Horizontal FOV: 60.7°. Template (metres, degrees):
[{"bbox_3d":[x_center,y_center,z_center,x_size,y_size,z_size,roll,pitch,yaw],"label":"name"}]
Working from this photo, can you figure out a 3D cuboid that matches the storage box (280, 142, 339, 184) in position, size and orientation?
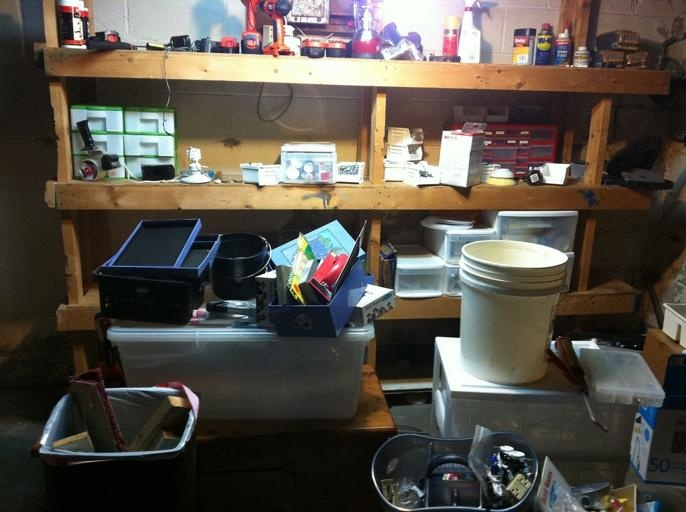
[{"bbox_3d":[-0.183,-0.490,3.205,0.311,0.197,0.212,0,17,0],"label":"storage box"}]

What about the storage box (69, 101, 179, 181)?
[{"bbox_3d":[-1.181,-0.607,3.261,0.700,0.468,0.364,-2,12,-9],"label":"storage box"}]

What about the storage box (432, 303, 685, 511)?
[{"bbox_3d":[0.781,0.952,2.885,1.337,1.052,0.702,0,28,0],"label":"storage box"}]

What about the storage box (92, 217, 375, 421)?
[{"bbox_3d":[-0.390,0.317,2.420,0.913,0.359,0.597,-2,16,-7],"label":"storage box"}]
